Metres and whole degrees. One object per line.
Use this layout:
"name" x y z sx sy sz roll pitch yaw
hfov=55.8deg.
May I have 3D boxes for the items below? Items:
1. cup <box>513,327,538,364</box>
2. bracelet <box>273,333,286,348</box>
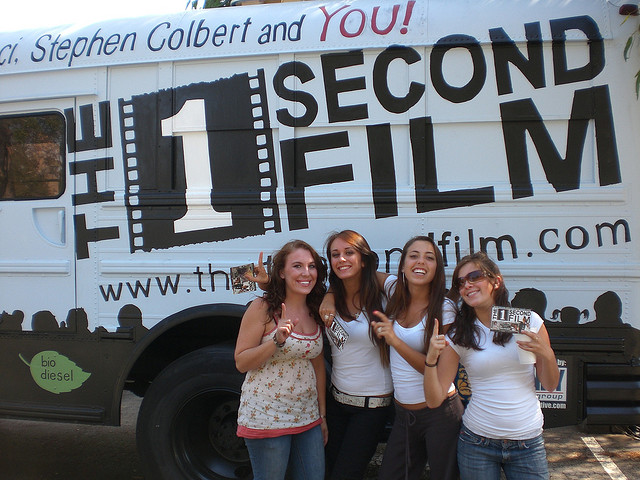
"cup" 1.329 0.672 3.896 0.153 0.211 0.116 -6 -3 18
"bracelet" -0.274 0.659 4.014 0.082 0.107 0.107 -5 -3 -5
